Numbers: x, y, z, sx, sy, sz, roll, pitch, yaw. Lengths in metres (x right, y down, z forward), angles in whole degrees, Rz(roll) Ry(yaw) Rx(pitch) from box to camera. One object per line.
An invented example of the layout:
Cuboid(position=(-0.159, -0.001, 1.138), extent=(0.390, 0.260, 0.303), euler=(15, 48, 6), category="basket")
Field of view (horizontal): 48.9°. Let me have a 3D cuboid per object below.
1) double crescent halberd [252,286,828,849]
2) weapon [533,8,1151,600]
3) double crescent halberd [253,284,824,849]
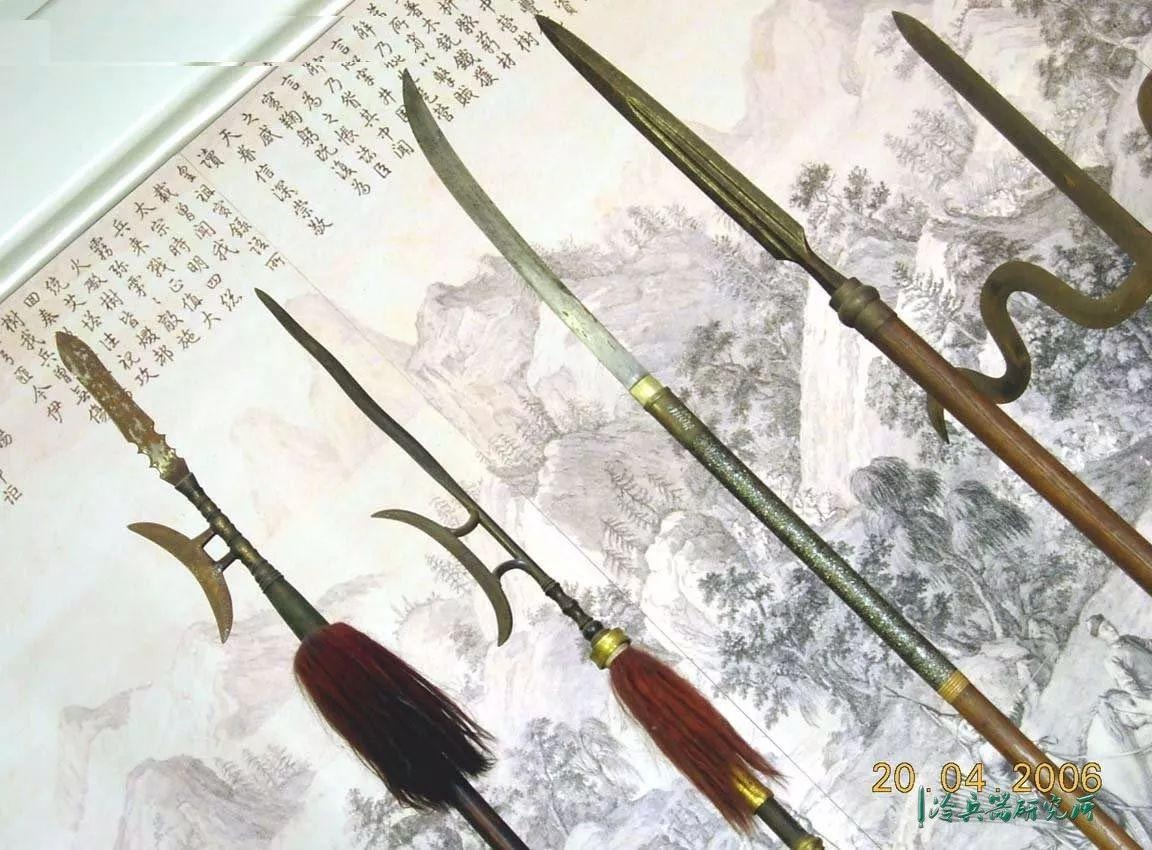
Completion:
Cuboid(position=(-0.068, 0.501, 3.828), extent=(0.285, 1.897, 0.167), euler=(-32, -17, -25), category="double crescent halberd")
Cuboid(position=(0.947, -0.609, 3.731), extent=(1.119, 2.173, 0.293), euler=(-36, -13, 0), category="weapon")
Cuboid(position=(-0.073, 0.497, 3.828), extent=(0.304, 1.891, 0.153), euler=(-32, -16, -24), category="double crescent halberd")
